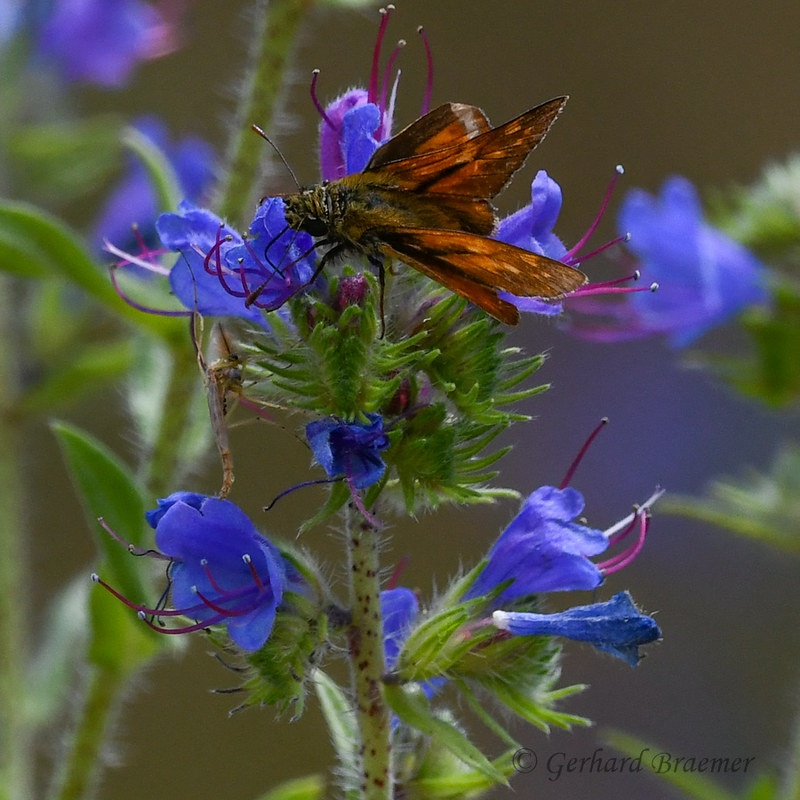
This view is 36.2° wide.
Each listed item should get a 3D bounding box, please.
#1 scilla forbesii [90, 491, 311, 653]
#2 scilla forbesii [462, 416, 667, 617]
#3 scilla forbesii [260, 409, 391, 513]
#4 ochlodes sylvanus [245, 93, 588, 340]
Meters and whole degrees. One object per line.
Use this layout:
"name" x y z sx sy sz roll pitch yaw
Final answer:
"scilla forbesii" -0.296 0.276 1.851 0.187 0.303 0.213 5 -14 -42
"scilla forbesii" 0.261 0.232 2.005 0.298 0.401 0.180 2 -2 -27
"scilla forbesii" -0.089 0.096 1.795 0.143 0.158 0.183 4 14 0
"ochlodes sylvanus" 0.032 -0.261 1.777 0.487 0.367 0.238 5 15 6
